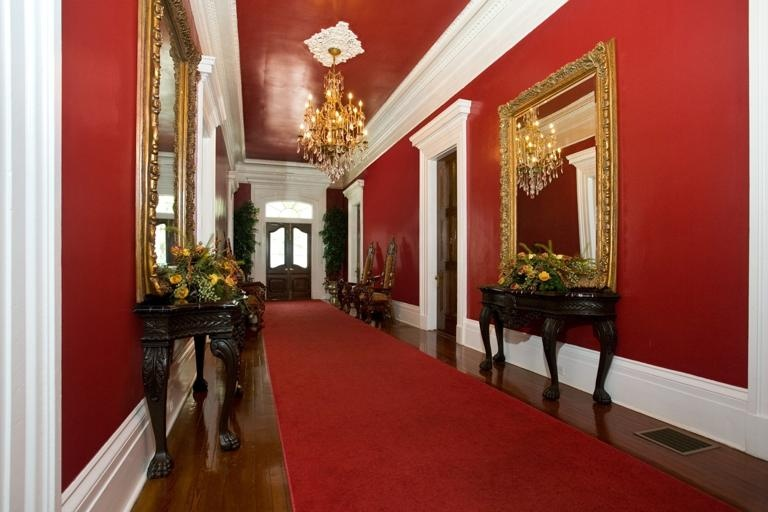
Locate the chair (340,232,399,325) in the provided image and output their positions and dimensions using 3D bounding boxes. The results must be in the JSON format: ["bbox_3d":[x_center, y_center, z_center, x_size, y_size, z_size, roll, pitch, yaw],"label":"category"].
[{"bbox_3d":[-0.272,0.459,10.628,0.605,1.399,1.667,1,-2,-15],"label":"chair"}]

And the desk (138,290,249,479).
[{"bbox_3d":[-1.518,0.874,4.237,0.756,1.203,1.172,-2,7,-16],"label":"desk"}]

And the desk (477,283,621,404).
[{"bbox_3d":[1.640,0.865,5.599,0.701,1.076,1.684,-3,3,-23],"label":"desk"}]

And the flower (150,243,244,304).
[{"bbox_3d":[-1.521,0.172,4.337,0.456,0.316,0.513,12,-4,-3],"label":"flower"}]

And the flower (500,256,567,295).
[{"bbox_3d":[1.662,0.175,5.657,0.864,0.447,0.956,1,-7,25],"label":"flower"}]

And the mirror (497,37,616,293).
[{"bbox_3d":[1.848,-0.962,5.558,0.207,2.342,1.657,-3,7,-26],"label":"mirror"}]
